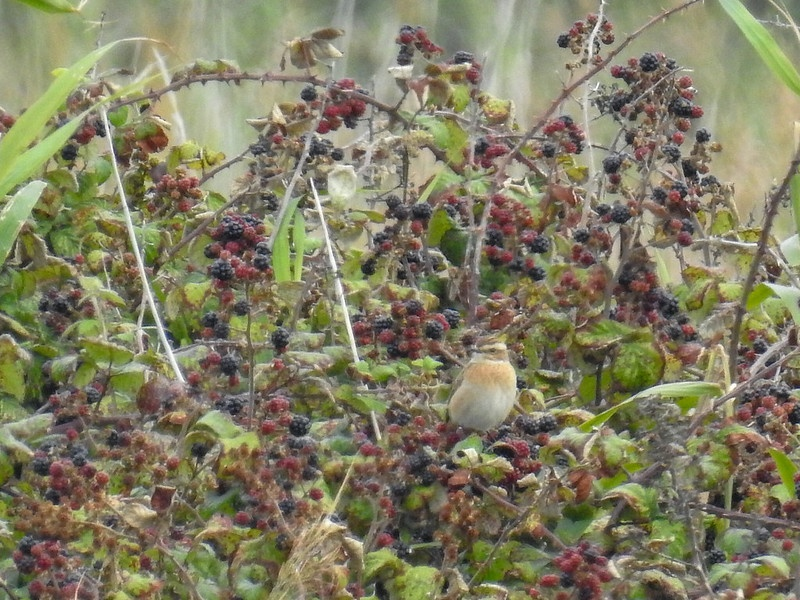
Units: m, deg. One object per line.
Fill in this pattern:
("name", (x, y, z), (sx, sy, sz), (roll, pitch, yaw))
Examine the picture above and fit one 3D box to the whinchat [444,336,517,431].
("whinchat", (0.184, 0.220, 3.011), (0.169, 0.286, 0.219), (3, 77, -25))
